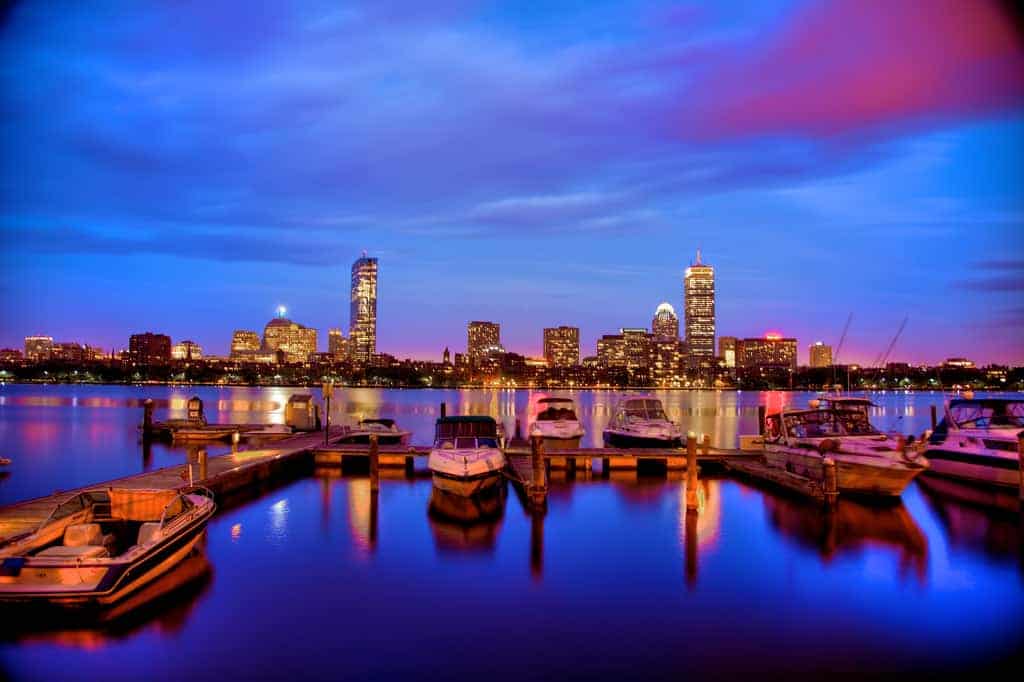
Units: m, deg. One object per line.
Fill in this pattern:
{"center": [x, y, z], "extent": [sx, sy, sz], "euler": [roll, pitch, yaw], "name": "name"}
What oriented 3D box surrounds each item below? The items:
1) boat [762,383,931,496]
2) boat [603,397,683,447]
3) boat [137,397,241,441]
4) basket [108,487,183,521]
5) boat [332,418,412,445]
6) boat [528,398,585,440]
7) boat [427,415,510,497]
{"center": [13.219, 4.250, 38.613], "extent": [3.445, 3.046, 6.241], "euler": [-3, 11, -16], "name": "boat"}
{"center": [6.655, 4.563, 50.007], "extent": [2.863, 2.705, 4.867], "euler": [-2, 11, -12], "name": "boat"}
{"center": [-19.892, 5.312, 59.907], "extent": [5.210, 1.803, 3.592], "euler": [0, -2, -2], "name": "boat"}
{"center": [-11.291, 4.931, 29.575], "extent": [1.447, 0.543, 1.213], "euler": [1, -3, 4], "name": "basket"}
{"center": [-7.199, 4.901, 50.845], "extent": [3.050, 0.844, 1.693], "euler": [-1, 1, -2], "name": "boat"}
{"center": [2.431, 4.348, 53.976], "extent": [3.049, 2.756, 9.792], "euler": [-1, -6, -1], "name": "boat"}
{"center": [-1.965, 4.410, 40.928], "extent": [3.088, 2.768, 8.859], "euler": [1, 4, -3], "name": "boat"}
